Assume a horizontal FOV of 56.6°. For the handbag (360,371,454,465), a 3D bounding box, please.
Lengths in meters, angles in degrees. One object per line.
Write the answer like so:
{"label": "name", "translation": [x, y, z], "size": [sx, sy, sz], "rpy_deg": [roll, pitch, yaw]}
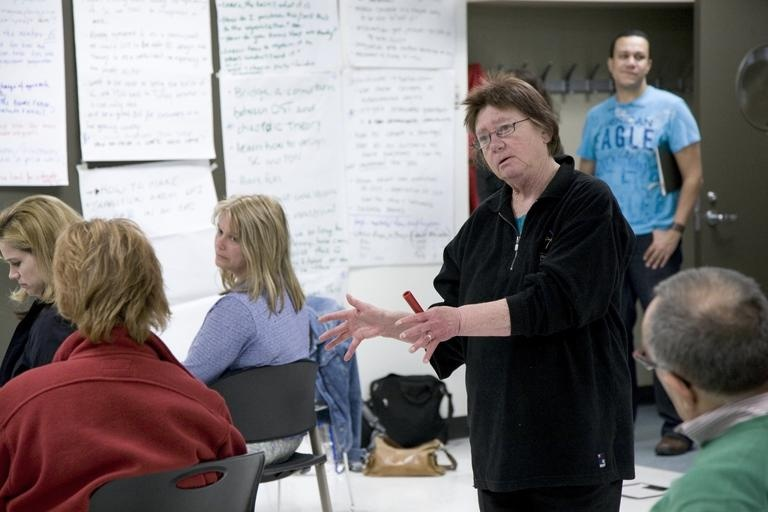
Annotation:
{"label": "handbag", "translation": [0.147, 1.005, 4.619], "size": [0.594, 0.549, 0.419], "rpy_deg": [2, -6, -8]}

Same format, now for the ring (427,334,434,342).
{"label": "ring", "translation": [0.156, 0.276, 2.405], "size": [0.022, 0.022, 0.020], "rpy_deg": [-3, 5, 0]}

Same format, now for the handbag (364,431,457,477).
{"label": "handbag", "translation": [0.182, 1.254, 4.534], "size": [0.453, 0.179, 0.274], "rpy_deg": [3, -13, -1]}

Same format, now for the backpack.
{"label": "backpack", "translation": [0.137, 0.999, 4.621], "size": [0.589, 0.547, 0.418], "rpy_deg": [2, -6, -3]}

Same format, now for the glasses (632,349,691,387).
{"label": "glasses", "translation": [0.785, 0.299, 2.007], "size": [0.029, 0.099, 0.093], "rpy_deg": [-45, 8, -13]}

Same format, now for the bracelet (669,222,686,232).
{"label": "bracelet", "translation": [1.832, -0.178, 4.447], "size": [0.064, 0.047, 0.066], "rpy_deg": [25, 5, 27]}

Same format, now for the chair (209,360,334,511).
{"label": "chair", "translation": [-0.465, 0.777, 3.357], "size": [0.536, 0.734, 0.540], "rpy_deg": [-2, -1, 41]}
